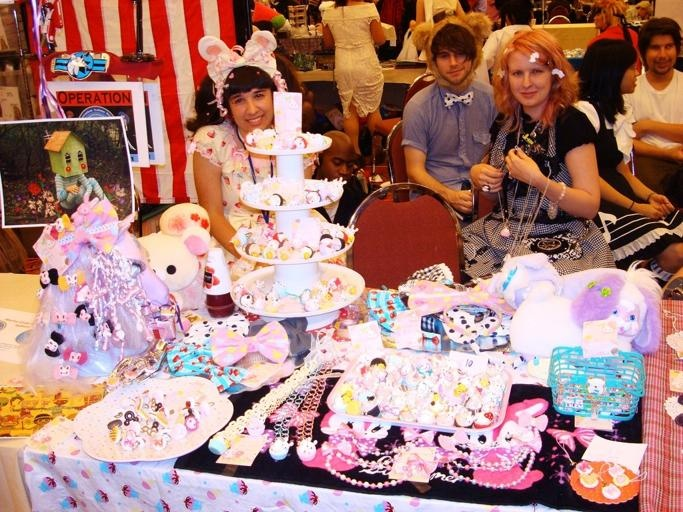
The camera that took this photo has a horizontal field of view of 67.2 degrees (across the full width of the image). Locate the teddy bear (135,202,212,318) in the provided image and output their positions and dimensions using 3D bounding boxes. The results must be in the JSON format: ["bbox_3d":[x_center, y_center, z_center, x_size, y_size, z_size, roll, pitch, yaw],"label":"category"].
[{"bbox_3d":[-0.698,-0.014,2.191,0.311,0.382,0.411,-2,32,3],"label":"teddy bear"}]

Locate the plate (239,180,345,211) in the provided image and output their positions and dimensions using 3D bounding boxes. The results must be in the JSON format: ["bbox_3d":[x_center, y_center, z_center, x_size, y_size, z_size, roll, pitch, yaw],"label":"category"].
[{"bbox_3d":[-0.186,-0.223,1.782,0.356,0.096,0.185,0,15,0],"label":"plate"}]

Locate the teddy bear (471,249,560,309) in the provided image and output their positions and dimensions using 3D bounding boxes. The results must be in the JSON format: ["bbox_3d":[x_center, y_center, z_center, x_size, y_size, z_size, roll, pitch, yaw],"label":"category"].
[{"bbox_3d":[0.585,0.056,1.731,0.215,0.191,0.167,-8,12,2],"label":"teddy bear"}]

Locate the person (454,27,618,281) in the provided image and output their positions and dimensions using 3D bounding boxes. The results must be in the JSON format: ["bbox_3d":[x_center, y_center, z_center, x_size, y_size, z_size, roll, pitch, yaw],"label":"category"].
[{"bbox_3d":[0.959,-0.478,2.506,0.749,1.178,0.490,8,17,29],"label":"person"}]

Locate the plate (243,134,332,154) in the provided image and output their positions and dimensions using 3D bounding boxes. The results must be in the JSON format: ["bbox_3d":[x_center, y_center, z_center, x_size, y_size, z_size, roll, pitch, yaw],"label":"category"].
[{"bbox_3d":[-0.184,-0.397,1.781,0.285,0.071,0.191,-3,16,-10],"label":"plate"}]

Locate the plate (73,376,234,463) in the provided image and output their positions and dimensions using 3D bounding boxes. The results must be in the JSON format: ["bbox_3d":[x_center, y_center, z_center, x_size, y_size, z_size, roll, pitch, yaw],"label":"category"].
[{"bbox_3d":[-0.542,0.464,1.491,0.450,0.103,0.323,1,16,6],"label":"plate"}]
